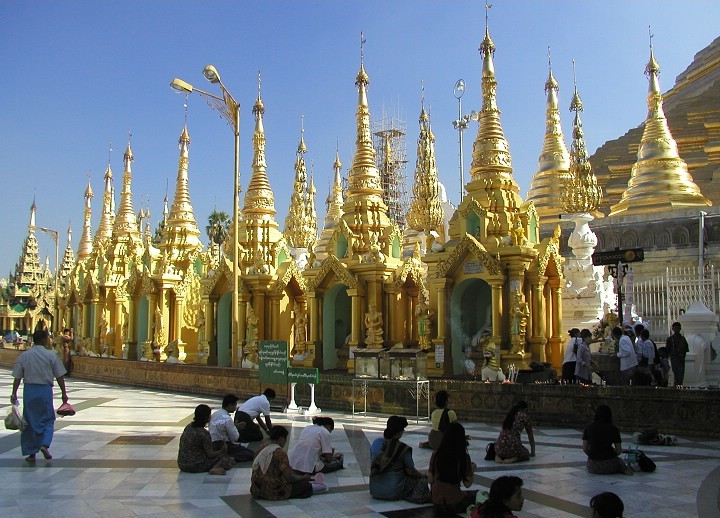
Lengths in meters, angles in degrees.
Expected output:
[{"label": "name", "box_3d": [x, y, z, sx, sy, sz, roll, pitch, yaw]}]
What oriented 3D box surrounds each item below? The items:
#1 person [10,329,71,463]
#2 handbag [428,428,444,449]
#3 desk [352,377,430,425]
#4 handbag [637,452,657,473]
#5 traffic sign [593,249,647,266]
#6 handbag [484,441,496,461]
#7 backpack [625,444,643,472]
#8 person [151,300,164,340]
[{"label": "person", "box_3d": [-5.661, 2.377, 13.423, 0.895, 2.276, 1.205, 3, -9, -23]}, {"label": "handbag", "box_3d": [1.254, 2.890, 12.309, 0.335, 0.309, 0.236, 0, -2, 22]}, {"label": "desk", "box_3d": [0.724, 3.127, 17.290, 1.975, 0.868, 0.507, 7, -13, -39]}, {"label": "handbag", "box_3d": [4.653, 3.328, 12.430, 0.229, 0.335, 0.116, -22, -11, -37]}, {"label": "traffic sign", "box_3d": [6.824, -0.057, 20.142, 1.192, 0.492, 0.807, -1, -8, 5]}, {"label": "handbag", "box_3d": [2.267, 3.343, 13.171, 0.070, 0.246, 0.252, 10, -4, -12]}, {"label": "backpack", "box_3d": [4.501, 3.310, 12.632, 0.354, 0.408, 0.354, -8, -9, 43]}, {"label": "person", "box_3d": [-7.222, 2.299, 27.235, 0.287, 1.405, 0.677, 3, -9, -25]}]
